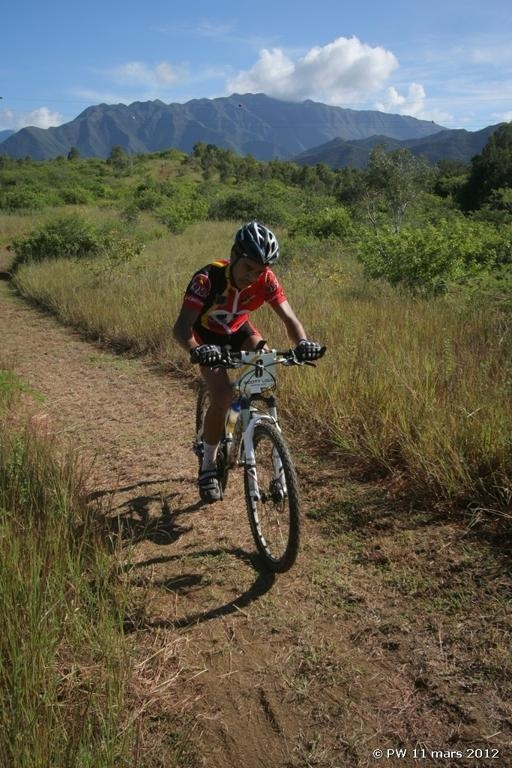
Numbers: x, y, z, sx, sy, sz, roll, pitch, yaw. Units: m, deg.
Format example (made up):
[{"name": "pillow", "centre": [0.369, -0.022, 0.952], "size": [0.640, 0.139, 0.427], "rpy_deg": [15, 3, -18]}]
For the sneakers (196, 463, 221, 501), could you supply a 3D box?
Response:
[{"name": "sneakers", "centre": [-0.284, 0.643, 3.940], "size": [0.092, 0.130, 0.275], "rpy_deg": [-7, 1, -6]}]

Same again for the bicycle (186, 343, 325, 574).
[{"name": "bicycle", "centre": [-0.248, 0.291, 3.753], "size": [0.623, 0.952, 1.493], "rpy_deg": [0, 10, -18]}]

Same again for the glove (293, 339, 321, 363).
[{"name": "glove", "centre": [0.314, -0.189, 3.677], "size": [0.159, 0.143, 0.185], "rpy_deg": [-1, 18, 7]}]

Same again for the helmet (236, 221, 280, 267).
[{"name": "helmet", "centre": [-0.001, -0.763, 3.518], "size": [0.239, 0.246, 0.283], "rpy_deg": [-4, 18, -2]}]
